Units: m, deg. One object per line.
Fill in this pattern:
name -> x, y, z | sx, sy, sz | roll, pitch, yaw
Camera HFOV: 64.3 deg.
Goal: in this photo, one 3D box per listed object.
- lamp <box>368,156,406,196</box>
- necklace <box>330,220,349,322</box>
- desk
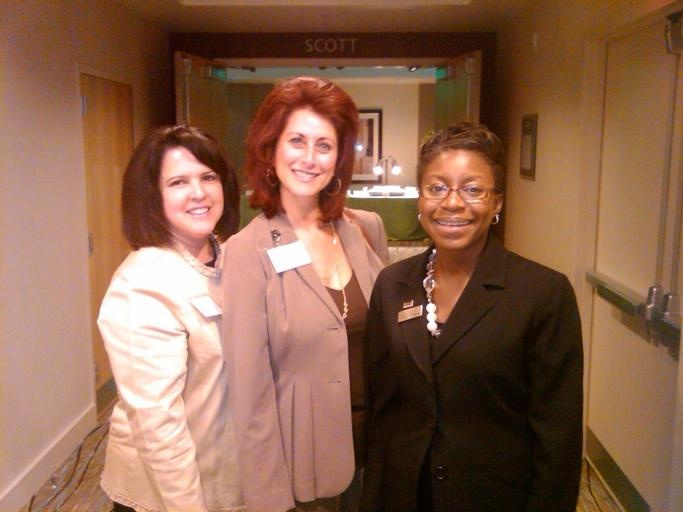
lamp -> 0.694, -1.175, 8.040 | 0.456, 0.516, 0.333 | 0, 29, -36
necklace -> -0.008, 0.082, 2.399 | 0.073, 0.363, 0.017 | -5, -18, 4
desk -> 0.424, -0.364, 4.983 | 0.570, 0.308, 0.596 | 3, 15, 11
